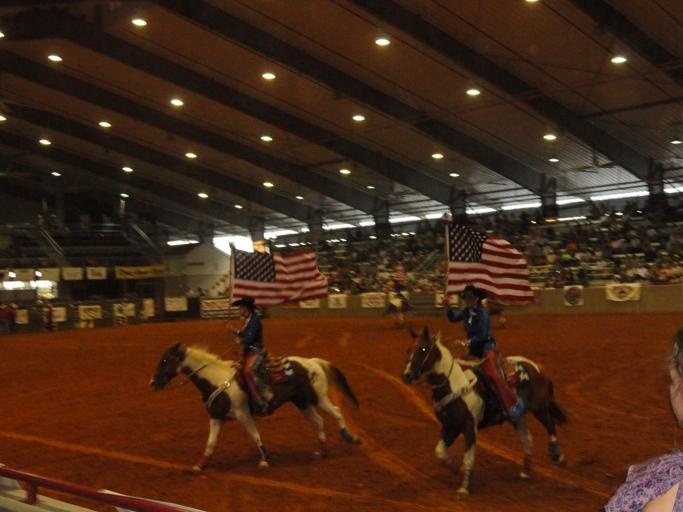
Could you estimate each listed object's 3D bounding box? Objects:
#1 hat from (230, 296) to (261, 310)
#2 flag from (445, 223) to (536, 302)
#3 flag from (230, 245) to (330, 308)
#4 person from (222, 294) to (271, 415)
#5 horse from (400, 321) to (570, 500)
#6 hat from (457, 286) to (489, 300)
[{"bbox_3d":[-1.724,0.910,13.358,0.419,0.143,0.357,18,-12,-42],"label":"hat"},{"bbox_3d":[3.037,0.113,14.575,2.268,1.750,0.218,-2,3,-27],"label":"flag"},{"bbox_3d":[-1.525,0.535,17.838,3.446,1.441,0.255,-2,-7,41],"label":"flag"},{"bbox_3d":[-1.669,1.851,13.416,0.613,2.155,0.684,-5,6,-10],"label":"person"},{"bbox_3d":[2.691,2.792,12.990,4.311,2.791,1.037,6,-16,-39],"label":"horse"},{"bbox_3d":[2.376,0.674,12.692,0.437,0.207,0.261,9,-6,-30],"label":"hat"}]
